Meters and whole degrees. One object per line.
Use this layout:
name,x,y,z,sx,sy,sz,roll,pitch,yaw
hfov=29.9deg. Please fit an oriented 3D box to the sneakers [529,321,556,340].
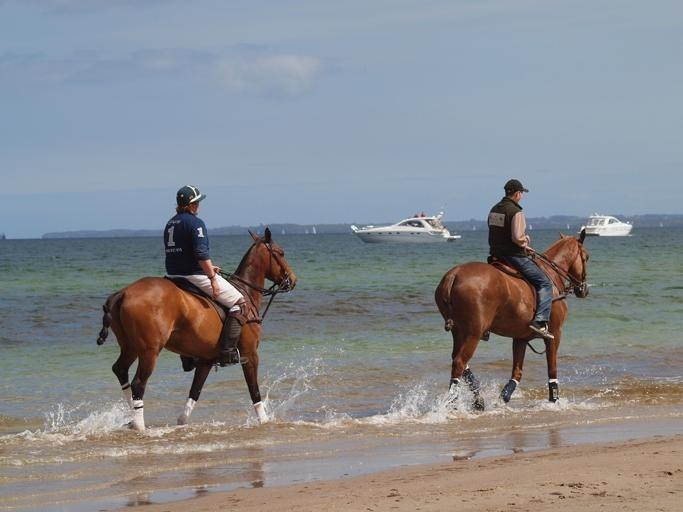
sneakers,3.625,1.340,22.972,0.602,0.237,0.211,25,-2,-31

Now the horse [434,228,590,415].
horse,3.168,1.165,23.454,4.478,3.302,1.201,1,-4,-44

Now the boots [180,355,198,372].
boots,-2.644,1.795,21.857,0.303,0.271,0.297,2,22,8

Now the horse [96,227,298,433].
horse,-2.401,1.191,21.652,1.320,3.250,4.384,-3,-2,44

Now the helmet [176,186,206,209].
helmet,-2.474,-0.977,21.100,0.393,0.339,0.252,-2,4,-5

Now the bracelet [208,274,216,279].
bracelet,-2.126,0.340,21.100,0.091,0.090,0.154,-2,3,5

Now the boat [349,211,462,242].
boat,8.459,-2.402,128.338,15.081,3.517,3.790,0,1,15
